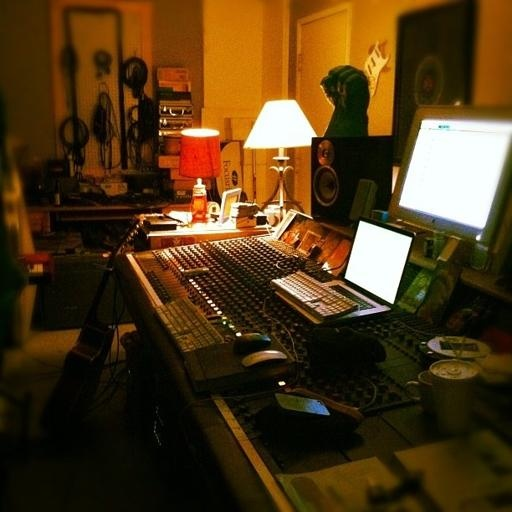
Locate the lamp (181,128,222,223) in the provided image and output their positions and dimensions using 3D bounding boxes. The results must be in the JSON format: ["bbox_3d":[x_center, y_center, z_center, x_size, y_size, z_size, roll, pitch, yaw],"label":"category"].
[{"bbox_3d":[-0.376,-0.513,3.022,0.239,0.561,0.246,-3,13,-8],"label":"lamp"}]

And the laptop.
[{"bbox_3d":[0.251,0.070,1.323,0.291,0.216,0.330,-5,16,-19],"label":"laptop"}]

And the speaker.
[{"bbox_3d":[0.401,-0.317,1.837,0.117,0.328,0.363,-2,7,-24],"label":"speaker"}]

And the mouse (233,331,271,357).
[{"bbox_3d":[-0.006,0.193,0.999,0.080,0.029,0.040,-18,40,-15],"label":"mouse"}]

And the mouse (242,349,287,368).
[{"bbox_3d":[0.017,0.214,0.946,0.080,0.020,0.037,-10,23,-17],"label":"mouse"}]
